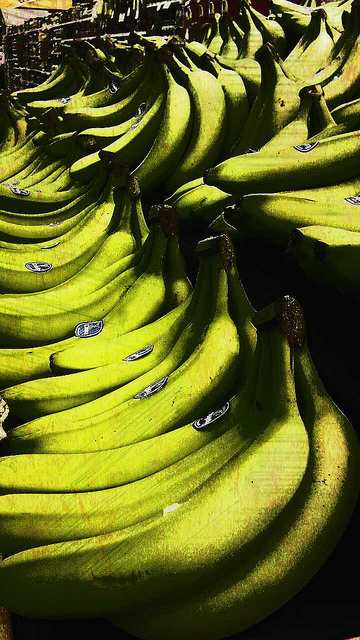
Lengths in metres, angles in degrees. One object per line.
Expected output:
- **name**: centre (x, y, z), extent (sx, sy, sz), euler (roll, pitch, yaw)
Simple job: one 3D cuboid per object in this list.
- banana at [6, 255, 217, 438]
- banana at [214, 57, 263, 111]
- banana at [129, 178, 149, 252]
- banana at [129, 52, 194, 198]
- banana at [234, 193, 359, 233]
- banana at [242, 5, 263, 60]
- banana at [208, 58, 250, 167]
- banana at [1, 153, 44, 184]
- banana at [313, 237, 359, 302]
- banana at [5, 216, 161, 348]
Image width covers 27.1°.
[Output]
- **banana**: centre (-0.140, 0.063, 1.575), extent (0.472, 0.086, 0.165), euler (-44, 69, 1)
- **banana**: centre (0.214, -0.817, 2.543), extent (0.106, 0.088, 0.321), euler (-7, 47, 9)
- **banana**: centre (-0.109, -0.297, 2.074), extent (0.044, 0.243, 0.076), euler (-2, -2, -32)
- **banana**: centre (-0.004, -0.576, 2.400), extent (0.180, 0.121, 0.532), euler (-4, 60, 36)
- **banana**: centre (0.261, -0.229, 1.665), extent (0.280, 0.059, 0.175), euler (3, 28, 5)
- **banana**: centre (0.275, -1.106, 2.878), extent (0.080, 0.083, 0.362), euler (3, 57, 0)
- **banana**: centre (0.161, -0.695, 2.465), extent (0.122, 0.105, 0.420), euler (-5, 75, 10)
- **banana**: centre (-0.604, -0.588, 2.891), extent (0.035, 0.038, 0.256), euler (-6, 38, 37)
- **banana**: centre (0.326, -0.110, 1.534), extent (0.104, 0.120, 0.035), euler (18, 43, 21)
- **banana**: centre (-0.234, -0.088, 1.866), extent (0.326, 0.104, 0.217), euler (-39, 84, -26)
